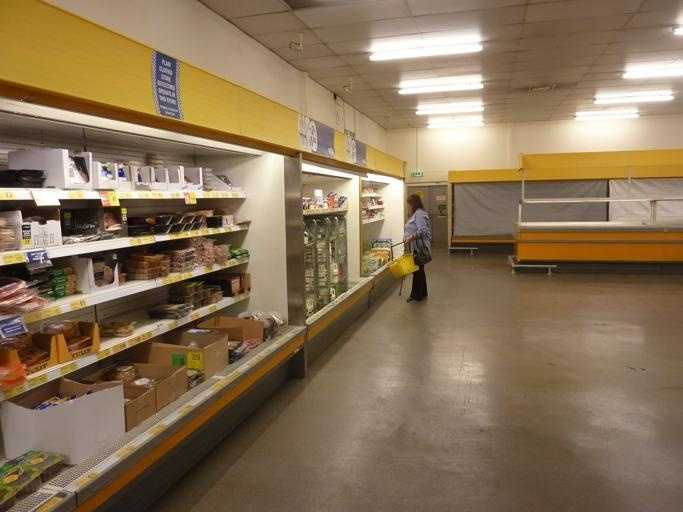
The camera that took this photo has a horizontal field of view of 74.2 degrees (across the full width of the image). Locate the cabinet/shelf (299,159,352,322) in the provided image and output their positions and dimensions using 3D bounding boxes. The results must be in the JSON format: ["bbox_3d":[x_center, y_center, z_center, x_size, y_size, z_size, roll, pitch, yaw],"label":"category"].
[{"bbox_3d":[-0.246,-0.204,6.410,0.654,2.206,2.422,-1,2,8],"label":"cabinet/shelf"}]

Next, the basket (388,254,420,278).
[{"bbox_3d":[1.099,0.168,7.850,0.580,0.386,0.253,-6,9,-29],"label":"basket"}]

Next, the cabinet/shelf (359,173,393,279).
[{"bbox_3d":[0.709,-0.589,9.541,0.638,2.210,2.227,0,4,7],"label":"cabinet/shelf"}]
